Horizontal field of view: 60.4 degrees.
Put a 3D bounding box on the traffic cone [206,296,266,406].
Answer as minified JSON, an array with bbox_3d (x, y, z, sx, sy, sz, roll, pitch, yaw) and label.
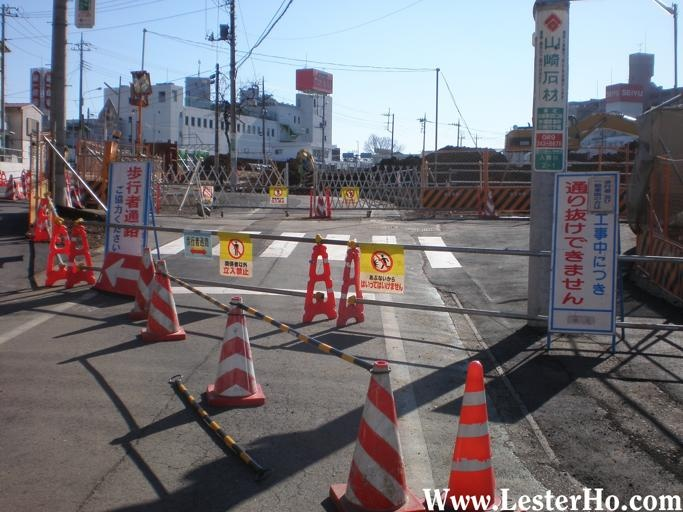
[{"bbox_3d":[-1.253,1.081,6.802,0.690,1.166,0.550,0,10,-9],"label":"traffic cone"}]

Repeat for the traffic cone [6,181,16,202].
[{"bbox_3d":[-18.142,-3.667,32.023,0.548,1.000,1.030,-4,11,-29],"label":"traffic cone"}]

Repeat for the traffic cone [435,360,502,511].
[{"bbox_3d":[1.110,1.493,4.877,0.408,1.201,0.280,4,10,16],"label":"traffic cone"}]
